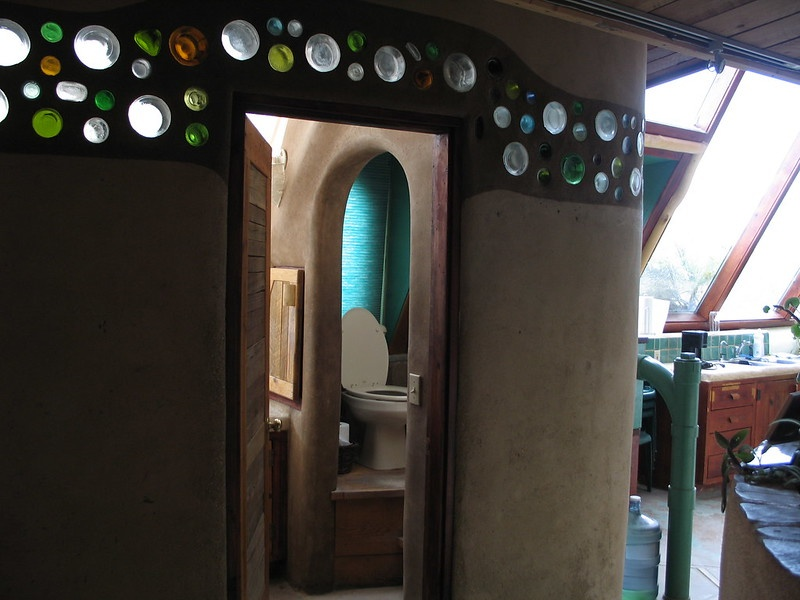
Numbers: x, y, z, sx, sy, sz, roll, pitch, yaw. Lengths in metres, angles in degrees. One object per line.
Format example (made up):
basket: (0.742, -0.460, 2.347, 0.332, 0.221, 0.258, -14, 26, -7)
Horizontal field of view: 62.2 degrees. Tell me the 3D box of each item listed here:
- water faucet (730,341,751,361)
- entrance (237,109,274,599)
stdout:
water faucet: (2.981, 0.440, 5.753, 0.164, 0.165, 0.112, 4, -1, -8)
entrance: (-0.569, 0.309, 2.640, 0.089, 1.964, 0.629, 0, 2, -9)
